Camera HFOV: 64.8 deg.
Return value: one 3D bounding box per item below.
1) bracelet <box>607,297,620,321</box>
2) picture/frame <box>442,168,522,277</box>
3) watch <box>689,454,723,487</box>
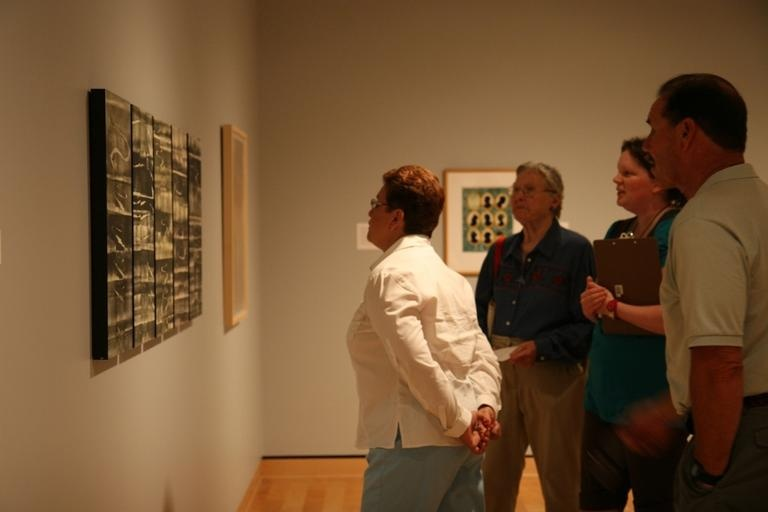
[{"bbox_3d":[1.068,0.244,2.766,0.081,0.096,0.058,4,-4,-39],"label":"bracelet"},{"bbox_3d":[0.741,-0.296,4.540,0.809,1.025,0.033,-1,4,-1],"label":"picture/frame"},{"bbox_3d":[1.032,0.683,1.941,0.067,0.069,0.087,20,4,10],"label":"watch"}]
